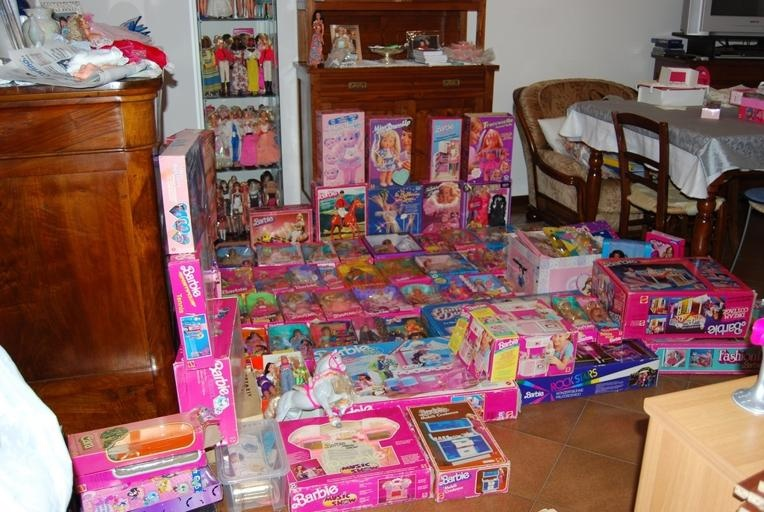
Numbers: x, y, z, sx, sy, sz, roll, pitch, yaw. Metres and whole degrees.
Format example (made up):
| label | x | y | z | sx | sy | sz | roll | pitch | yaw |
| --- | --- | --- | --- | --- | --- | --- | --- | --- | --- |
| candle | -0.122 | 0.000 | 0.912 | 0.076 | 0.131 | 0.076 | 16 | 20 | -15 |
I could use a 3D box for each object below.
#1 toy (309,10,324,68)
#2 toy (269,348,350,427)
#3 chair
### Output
| label | x | y | z | sx | sy | sz | roll | pitch | yaw |
| --- | --- | --- | --- | --- | --- | --- | --- | --- | --- |
| toy | -0.481 | -1.556 | 3.997 | 0.116 | 0.359 | 0.178 | -1 | 21 | 10 |
| toy | -0.293 | 0.561 | 2.321 | 0.328 | 0.264 | 0.158 | -6 | 21 | -4 |
| chair | 1.434 | -0.776 | 4.130 | 0.802 | 0.892 | 0.872 | -13 | 37 | -13 |
